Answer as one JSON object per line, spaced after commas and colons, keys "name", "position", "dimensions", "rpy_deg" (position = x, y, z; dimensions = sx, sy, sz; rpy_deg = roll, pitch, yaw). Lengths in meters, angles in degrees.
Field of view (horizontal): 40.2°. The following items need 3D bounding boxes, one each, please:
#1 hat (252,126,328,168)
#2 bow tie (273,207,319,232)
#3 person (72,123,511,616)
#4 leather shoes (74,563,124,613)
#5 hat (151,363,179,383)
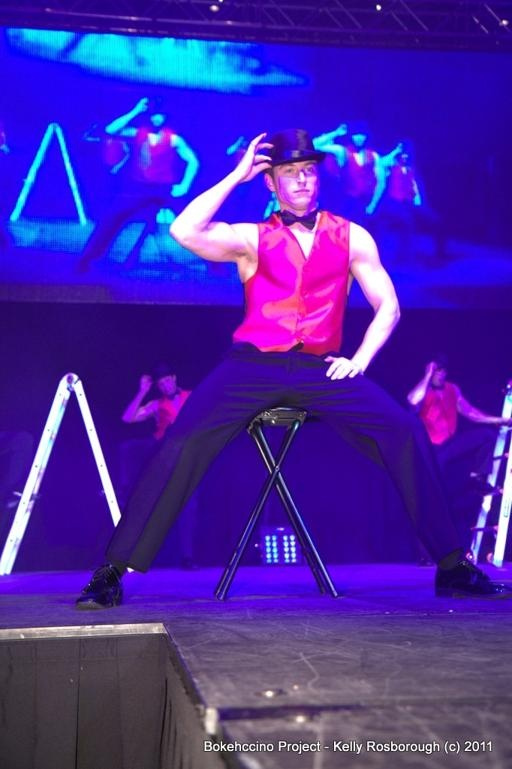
{"name": "hat", "position": [0.137, -0.841, 2.502], "dimensions": [0.153, 0.061, 0.170], "rpy_deg": [-8, 1, -18]}
{"name": "bow tie", "position": [0.149, -0.579, 2.463], "dimensions": [0.177, 0.090, 0.072], "rpy_deg": [0, 7, -11]}
{"name": "person", "position": [0.027, -0.119, 2.342], "dimensions": [1.091, 1.300, 1.159], "rpy_deg": [-2, 26, -4]}
{"name": "leather shoes", "position": [-0.436, 0.592, 1.973], "dimensions": [0.106, 0.125, 0.227], "rpy_deg": [-4, 25, -7]}
{"name": "hat", "position": [-0.561, -0.071, 4.316], "dimensions": [0.143, 0.097, 0.134], "rpy_deg": [1, -2, 8]}
